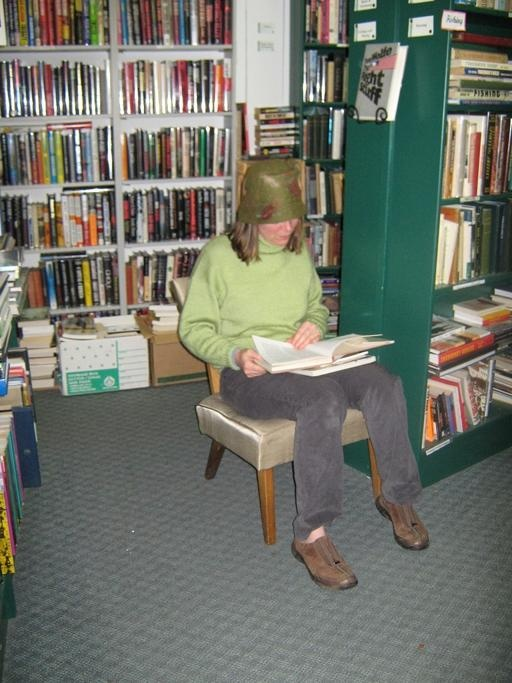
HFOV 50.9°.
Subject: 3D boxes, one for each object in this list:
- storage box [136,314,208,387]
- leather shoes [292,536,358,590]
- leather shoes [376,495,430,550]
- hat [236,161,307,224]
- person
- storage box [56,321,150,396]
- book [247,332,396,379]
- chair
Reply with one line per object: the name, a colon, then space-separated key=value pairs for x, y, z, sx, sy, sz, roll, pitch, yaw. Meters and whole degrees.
storage box: x=-0.501 y=0.058 z=3.222 sx=0.493 sy=0.331 sz=0.396 roll=-6 pitch=23 yaw=-20
leather shoes: x=0.192 y=0.599 z=1.511 sx=0.090 sy=0.076 sz=0.183 roll=-13 pitch=22 yaw=-32
leather shoes: x=0.466 y=0.552 z=1.707 sx=0.081 sy=0.077 sz=0.183 roll=-12 pitch=31 yaw=-19
hat: x=0.029 y=-0.470 z=1.707 sx=0.161 sy=0.142 sz=0.237 roll=-14 pitch=23 yaw=-34
person: x=0.163 y=0.026 z=1.689 sx=0.518 sy=1.178 sz=0.727 roll=-10 pitch=15 yaw=-43
storage box: x=-0.880 y=0.071 z=3.073 sx=0.670 sy=0.428 sz=0.355 roll=-6 pitch=17 yaw=-20
book: x=0.196 y=0.061 z=1.573 sx=0.411 sy=0.135 sz=0.251 roll=-3 pitch=11 yaw=-18
chair: x=0.062 y=0.190 z=1.853 sx=0.594 sy=0.688 sz=0.639 roll=-4 pitch=13 yaw=-8
